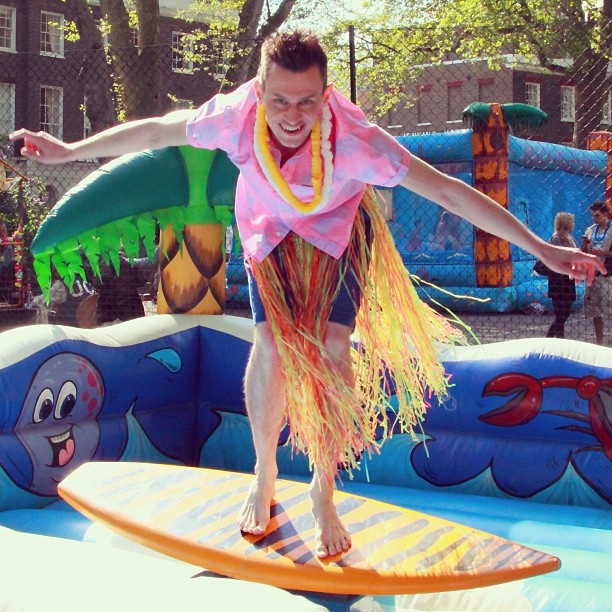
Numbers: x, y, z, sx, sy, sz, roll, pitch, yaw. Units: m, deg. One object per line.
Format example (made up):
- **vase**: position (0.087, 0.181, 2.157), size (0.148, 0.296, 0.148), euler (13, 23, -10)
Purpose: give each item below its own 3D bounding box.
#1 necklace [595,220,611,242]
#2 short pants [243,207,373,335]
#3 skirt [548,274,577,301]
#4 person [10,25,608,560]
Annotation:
- **necklace**: position (2.275, -0.581, 5.585), size (0.160, 0.178, 0.041), euler (1, -3, 8)
- **short pants**: position (0.007, -0.107, 1.942), size (0.336, 0.337, 0.175), euler (5, -4, 2)
- **skirt**: position (1.604, -0.115, 4.592), size (0.166, 0.188, 0.450), euler (4, -5, 18)
- **person**: position (-0.021, -0.034, 1.827), size (1.234, 1.259, 0.439), euler (5, -4, 4)
